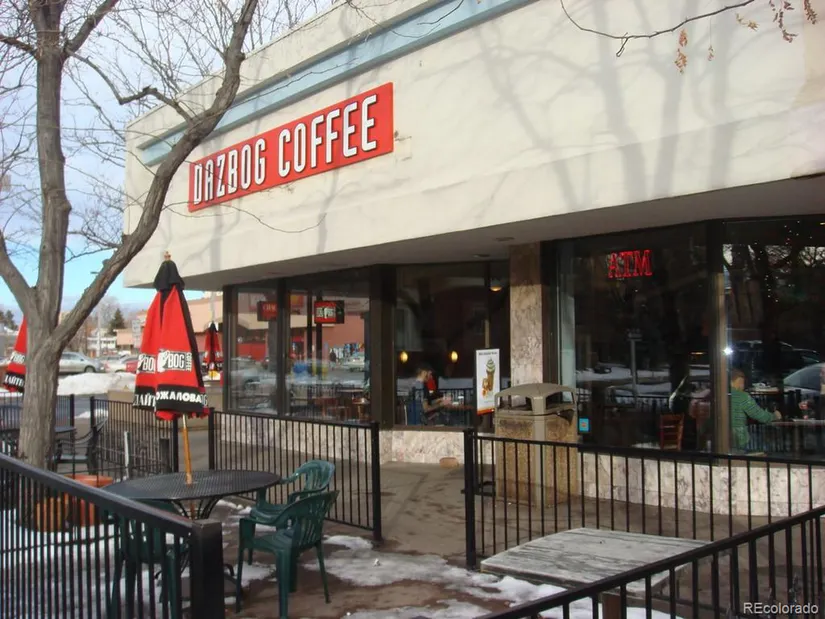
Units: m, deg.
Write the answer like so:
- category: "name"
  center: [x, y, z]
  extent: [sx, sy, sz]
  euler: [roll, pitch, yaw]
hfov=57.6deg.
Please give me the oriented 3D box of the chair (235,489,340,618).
- category: "chair"
  center: [-1.322, 2.351, 7.936]
  extent: [1.025, 1.487, 1.078]
  euler: [0, -1, 32]

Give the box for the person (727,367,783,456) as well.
- category: "person"
  center: [4.761, 1.337, 10.341]
  extent: [0.722, 0.986, 0.739]
  euler: [-16, 10, -14]

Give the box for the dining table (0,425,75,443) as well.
- category: "dining table"
  center: [-6.684, 2.242, 13.593]
  extent: [1.101, 0.301, 6.712]
  euler: [3, -10, -24]

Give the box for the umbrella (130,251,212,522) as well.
- category: "umbrella"
  center: [-2.720, 0.284, 8.464]
  extent: [0.809, 1.870, 0.358]
  euler: [-5, -9, 21]

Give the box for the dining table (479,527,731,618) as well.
- category: "dining table"
  center: [1.528, 2.082, 6.326]
  extent: [1.661, 0.307, 1.204]
  euler: [5, -11, -35]

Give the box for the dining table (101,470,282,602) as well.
- category: "dining table"
  center: [-1.989, 2.070, 6.864]
  extent: [1.640, 0.681, 1.658]
  euler: [1, 2, 44]
